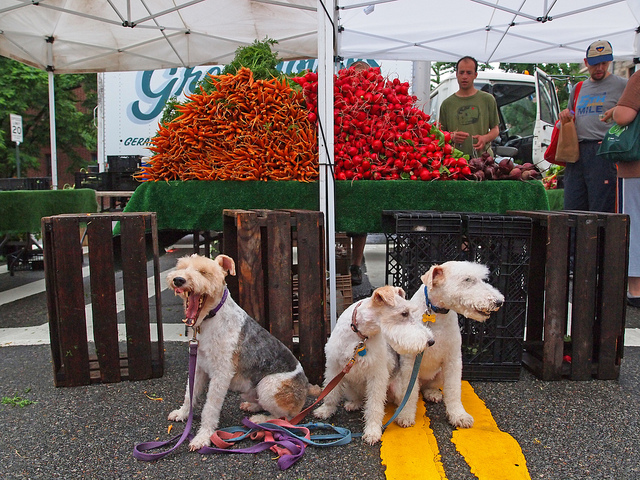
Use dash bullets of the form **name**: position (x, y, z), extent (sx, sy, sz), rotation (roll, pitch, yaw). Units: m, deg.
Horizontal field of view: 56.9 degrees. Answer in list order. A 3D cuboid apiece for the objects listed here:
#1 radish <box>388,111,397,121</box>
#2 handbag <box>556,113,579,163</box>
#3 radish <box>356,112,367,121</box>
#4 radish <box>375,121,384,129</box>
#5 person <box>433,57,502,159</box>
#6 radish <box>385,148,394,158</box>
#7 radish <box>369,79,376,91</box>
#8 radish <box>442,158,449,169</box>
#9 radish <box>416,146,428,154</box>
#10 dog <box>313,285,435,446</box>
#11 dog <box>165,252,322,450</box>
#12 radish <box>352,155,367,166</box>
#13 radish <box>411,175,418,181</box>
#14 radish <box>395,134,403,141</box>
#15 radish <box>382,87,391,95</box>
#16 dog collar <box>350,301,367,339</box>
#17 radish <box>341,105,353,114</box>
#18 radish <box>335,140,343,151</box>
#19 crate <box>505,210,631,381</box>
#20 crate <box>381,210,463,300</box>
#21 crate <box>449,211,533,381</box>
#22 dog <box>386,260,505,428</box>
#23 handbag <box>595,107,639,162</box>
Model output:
- **radish**: position (0.805, -1.380, 6.557), extent (0.072, 0.103, 0.080), rotation (1, 14, 6)
- **handbag**: position (3.280, -1.343, 7.813), extent (0.219, 0.684, 0.525), rotation (-4, 6, -7)
- **radish**: position (0.455, -1.372, 6.524), extent (0.082, 0.089, 0.099), rotation (40, 11, 20)
- **radish**: position (0.660, -1.275, 6.522), extent (0.064, 0.092, 0.070), rotation (2, 14, 3)
- **person**: position (1.919, -1.772, 7.745), extent (0.817, 1.505, 2.444), rotation (-1, 3, 16)
- **radish**: position (0.767, -0.963, 6.545), extent (0.068, 0.103, 0.075), rotation (-18, -24, -10)
- **radish**: position (0.584, -1.731, 6.625), extent (0.065, 0.092, 0.072), rotation (6, 27, -2)
- **radish**: position (1.396, -0.856, 6.543), extent (0.052, 0.084, 0.058), rotation (4, -12, 5)
- **radish**: position (1.128, -1.000, 6.554), extent (0.124, 0.089, 0.067), rotation (-4, 4, -20)
- **dog**: position (0.475, 0.978, 5.394), extent (0.931, 1.436, 1.035), rotation (5, 6, -5)
- **dog**: position (-0.340, 0.897, 5.104), extent (1.722, 2.280, 0.916), rotation (1, -4, -18)
- **radish**: position (0.412, -0.874, 6.470), extent (0.083, 0.117, 0.205), rotation (7, 1, 30)
- **radish**: position (1.032, -0.689, 6.460), extent (0.068, 0.053, 0.068), rotation (-2, 3, 9)
- **radish**: position (0.878, -1.132, 6.519), extent (0.059, 0.068, 0.065), rotation (1, 12, -1)
- **radish**: position (0.748, -1.666, 6.612), extent (0.069, 0.078, 0.088), rotation (23, -15, -2)
- **dog collar**: position (0.326, 0.698, 5.110), extent (0.115, 0.313, 0.078), rotation (-2, 3, -2)
- **radish**: position (0.297, -1.444, 6.497), extent (0.095, 0.082, 0.074), rotation (3, -26, -27)
- **radish**: position (0.202, -1.053, 6.553), extent (0.068, 0.081, 0.090), rotation (-11, 41, -11)
- **crate**: position (2.538, 0.454, 6.279), extent (0.922, 1.985, 1.172), rotation (4, 8, 4)
- **crate**: position (1.024, 0.102, 5.990), extent (0.688, 0.941, 0.682), rotation (1, 7, -2)
- **crate**: position (1.762, 0.536, 6.194), extent (0.778, 1.624, 0.819), rotation (1, 9, 3)
- **dog**: position (1.098, 0.790, 5.585), extent (0.877, 1.629, 0.997), rotation (4, 8, 4)
- **handbag**: position (3.651, -1.255, 7.227), extent (0.463, 0.610, 0.396), rotation (-1, 4, 27)
